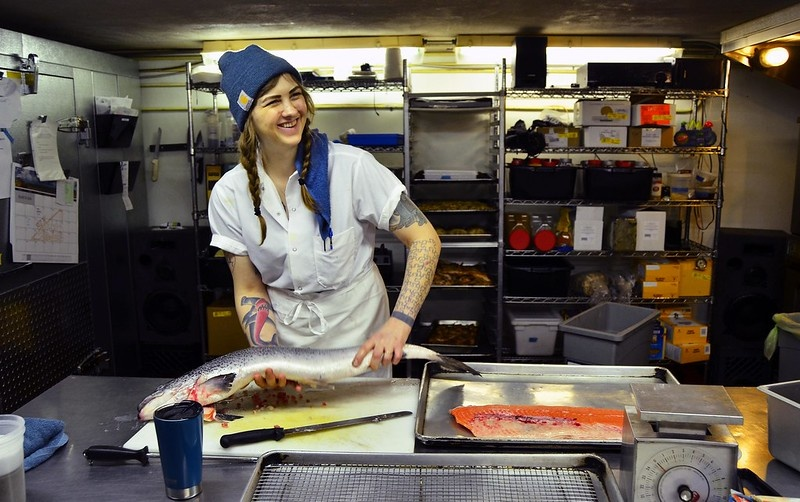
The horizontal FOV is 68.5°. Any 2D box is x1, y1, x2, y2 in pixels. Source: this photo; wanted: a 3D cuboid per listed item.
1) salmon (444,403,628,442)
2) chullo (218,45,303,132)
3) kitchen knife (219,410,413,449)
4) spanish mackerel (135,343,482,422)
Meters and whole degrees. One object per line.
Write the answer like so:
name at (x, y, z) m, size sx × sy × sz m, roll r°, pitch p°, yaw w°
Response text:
salmon at (0.592, 0.732, 2.507) m, size 0.741 × 0.054 × 0.233 m, roll 0°, pitch 10°, yaw 2°
chullo at (-0.656, -0.760, 2.729) m, size 0.388 × 0.388 × 0.206 m, roll -1°, pitch 11°, yaw -3°
kitchen knife at (-0.340, 0.768, 2.520) m, size 0.814 × 0.075 × 0.049 m, roll -3°, pitch 11°, yaw -14°
spanish mackerel at (-0.591, 0.538, 2.588) m, size 1.280 × 0.322 × 0.593 m, roll 1°, pitch 6°, yaw -29°
